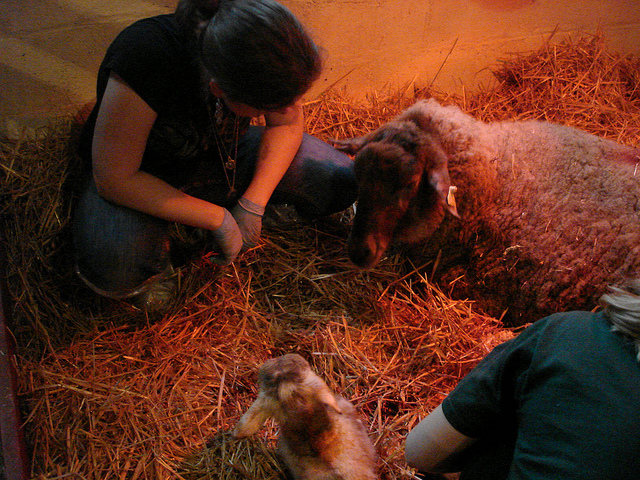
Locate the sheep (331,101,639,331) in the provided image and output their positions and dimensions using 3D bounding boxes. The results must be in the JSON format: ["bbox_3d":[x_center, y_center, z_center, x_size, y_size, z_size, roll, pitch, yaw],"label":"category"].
[{"bbox_3d":[0.959,-0.223,3.234,1.015,1.860,0.981,-54,128,-52],"label":"sheep"}]

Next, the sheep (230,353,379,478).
[{"bbox_3d":[-0.018,0.863,2.762,0.747,0.475,0.380,24,34,0],"label":"sheep"}]
